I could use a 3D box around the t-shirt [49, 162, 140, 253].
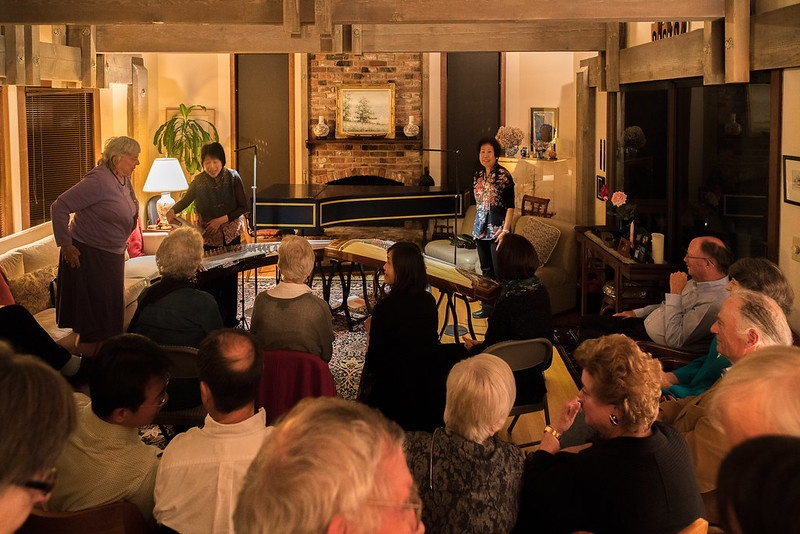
[{"bbox_3d":[-2.268,-0.425,4.436,0.566,0.663,0.281,-6,14,-27],"label":"t-shirt"}]

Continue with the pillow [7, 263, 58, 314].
[{"bbox_3d":[-3.171,0.188,5.108,0.131,0.262,0.388,-2,16,20],"label":"pillow"}]

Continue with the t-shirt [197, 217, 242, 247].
[{"bbox_3d":[-1.722,-0.355,5.807,0.326,0.212,0.321,-7,13,-38],"label":"t-shirt"}]

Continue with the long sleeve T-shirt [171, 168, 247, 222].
[{"bbox_3d":[-1.895,-0.590,5.973,0.833,0.655,0.495,1,22,-12],"label":"long sleeve T-shirt"}]

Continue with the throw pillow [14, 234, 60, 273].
[{"bbox_3d":[-3.536,-0.134,5.770,0.119,0.379,0.398,-1,15,28],"label":"throw pillow"}]

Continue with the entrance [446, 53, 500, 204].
[{"bbox_3d":[1.203,-2.508,10.133,1.044,3.141,0.127,-7,53,1],"label":"entrance"}]

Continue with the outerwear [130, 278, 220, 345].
[{"bbox_3d":[-1.324,0.264,3.512,0.400,0.329,0.218,4,13,0],"label":"outerwear"}]

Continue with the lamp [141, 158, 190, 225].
[{"bbox_3d":[-3.228,-1.008,8.153,0.594,0.949,0.614,-1,9,-24],"label":"lamp"}]

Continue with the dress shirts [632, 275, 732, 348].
[{"bbox_3d":[1.956,0.279,4.138,0.480,0.363,0.479,0,2,7],"label":"dress shirts"}]
